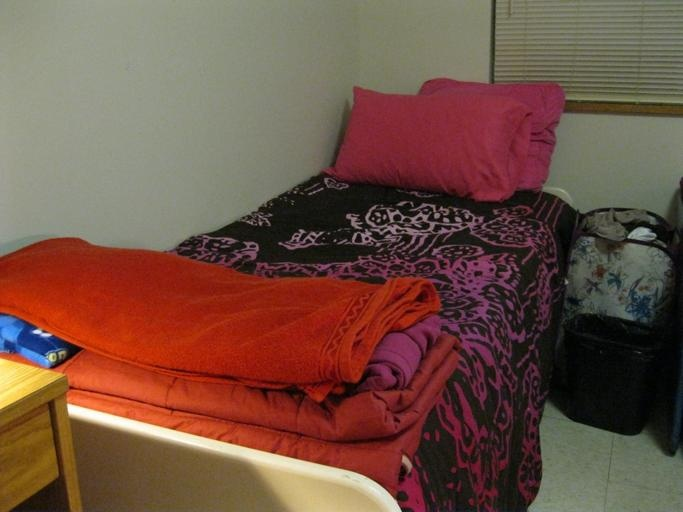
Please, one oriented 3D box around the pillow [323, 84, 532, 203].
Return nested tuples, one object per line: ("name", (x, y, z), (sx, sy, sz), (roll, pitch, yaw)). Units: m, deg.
("pillow", (0.358, -0.486, 2.304), (0.836, 0.279, 0.364), (13, 50, 28))
